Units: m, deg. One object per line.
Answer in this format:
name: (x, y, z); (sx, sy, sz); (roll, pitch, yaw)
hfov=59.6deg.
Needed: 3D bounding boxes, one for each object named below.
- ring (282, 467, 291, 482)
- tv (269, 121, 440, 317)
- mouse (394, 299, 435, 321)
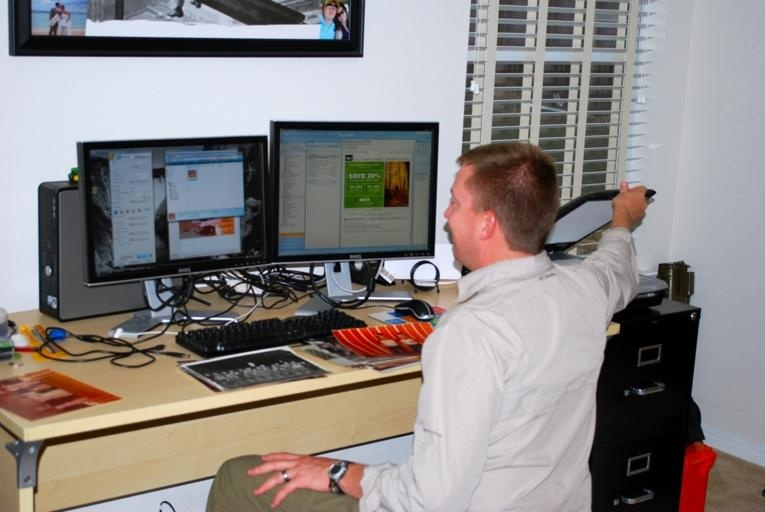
ring: (-0.287, 0.644, 1.962); (0.023, 0.034, 0.036); (-1, -4, -10)
tv: (-0.126, -0.160, 2.559); (0.773, 0.759, 0.238); (-4, 14, -21)
mouse: (0.111, 0.196, 2.495); (0.121, 0.040, 0.072); (8, 10, 40)
